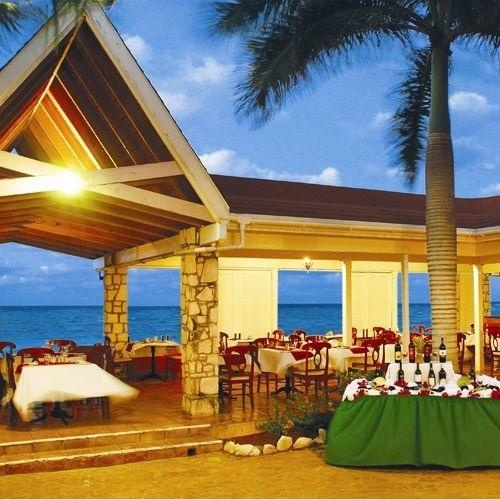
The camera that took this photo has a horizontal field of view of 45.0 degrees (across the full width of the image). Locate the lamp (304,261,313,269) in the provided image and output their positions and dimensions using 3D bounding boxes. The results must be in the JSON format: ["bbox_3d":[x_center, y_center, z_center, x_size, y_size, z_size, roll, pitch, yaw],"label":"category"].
[{"bbox_3d":[1.563,0.386,16.155,0.184,0.291,0.200,8,-38,-9],"label":"lamp"}]

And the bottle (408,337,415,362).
[{"bbox_3d":[2.122,1.333,7.881,0.093,0.264,0.327,-1,-7,15],"label":"bottle"}]

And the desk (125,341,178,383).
[{"bbox_3d":[-2.154,2.658,13.439,1.275,0.890,0.914,-1,-34,13],"label":"desk"}]

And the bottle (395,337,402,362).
[{"bbox_3d":[1.962,1.349,7.941,0.088,0.243,0.286,0,-7,13],"label":"bottle"}]
